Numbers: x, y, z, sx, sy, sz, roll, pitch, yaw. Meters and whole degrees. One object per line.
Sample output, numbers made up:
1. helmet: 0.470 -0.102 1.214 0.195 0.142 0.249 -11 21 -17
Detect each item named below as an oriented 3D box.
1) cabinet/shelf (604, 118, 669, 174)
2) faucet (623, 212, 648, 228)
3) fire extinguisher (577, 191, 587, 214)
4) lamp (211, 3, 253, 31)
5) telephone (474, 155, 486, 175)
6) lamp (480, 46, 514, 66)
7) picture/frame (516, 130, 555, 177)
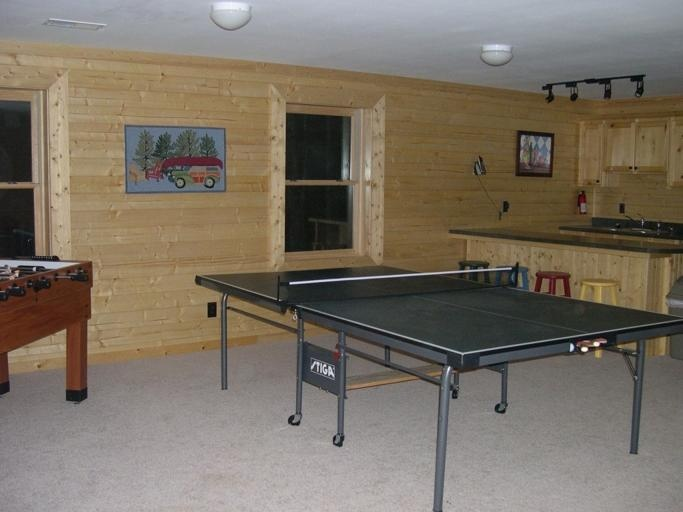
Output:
1. cabinet/shelf: 4.145 -1.542 7.892 0.435 0.719 1.164 -3 4 -40
2. faucet: 4.340 -0.512 8.388 0.339 0.190 0.143 6 13 28
3. fire extinguisher: 3.593 -0.789 8.437 0.120 0.368 0.210 14 18 41
4. lamp: -0.761 -1.671 3.955 0.278 0.157 0.160 0 12 -7
5. telephone: 1.809 -1.178 7.394 0.130 0.212 0.190 -10 8 13
6. lamp: 1.389 -1.798 5.073 0.255 0.152 0.196 2 11 8
7. picture/frame: 2.686 -1.402 7.869 0.747 0.631 0.109 -6 16 -32
